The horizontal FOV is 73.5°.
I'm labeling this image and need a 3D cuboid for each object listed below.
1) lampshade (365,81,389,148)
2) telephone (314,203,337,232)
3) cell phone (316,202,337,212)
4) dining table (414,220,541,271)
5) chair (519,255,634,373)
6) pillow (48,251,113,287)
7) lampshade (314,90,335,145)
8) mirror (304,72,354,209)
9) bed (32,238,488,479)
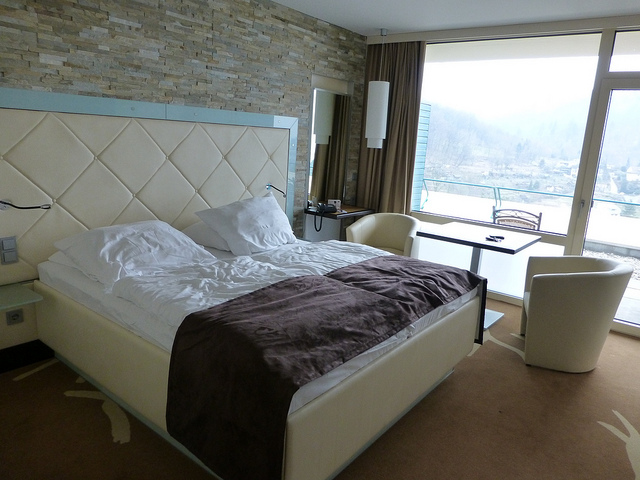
[{"bbox_3d":[0.643,-1.460,4.967,0.236,0.743,0.210,5,14,5],"label":"lampshade"},{"bbox_3d":[0.046,-0.271,5.096,0.218,0.309,0.102,3,13,-24],"label":"telephone"},{"bbox_3d":[0.075,-0.388,5.082,0.148,0.056,0.148,-1,11,-29],"label":"cell phone"},{"bbox_3d":[1.672,-0.051,4.476,0.765,0.592,0.741,18,29,42],"label":"dining table"},{"bbox_3d":[2.104,0.609,3.684,0.713,0.927,0.679,11,16,27],"label":"chair"},{"bbox_3d":[-1.806,0.129,3.257,0.341,0.086,0.320,16,35,-15],"label":"pillow"},{"bbox_3d":[0.040,-1.472,5.163,0.083,0.593,0.355,13,16,32],"label":"lampshade"},{"bbox_3d":[0.115,-1.248,5.316,0.579,1.179,0.035,14,19,34],"label":"mirror"},{"bbox_3d":[-0.605,0.578,2.695,1.805,0.649,1.798,13,19,35],"label":"bed"}]
